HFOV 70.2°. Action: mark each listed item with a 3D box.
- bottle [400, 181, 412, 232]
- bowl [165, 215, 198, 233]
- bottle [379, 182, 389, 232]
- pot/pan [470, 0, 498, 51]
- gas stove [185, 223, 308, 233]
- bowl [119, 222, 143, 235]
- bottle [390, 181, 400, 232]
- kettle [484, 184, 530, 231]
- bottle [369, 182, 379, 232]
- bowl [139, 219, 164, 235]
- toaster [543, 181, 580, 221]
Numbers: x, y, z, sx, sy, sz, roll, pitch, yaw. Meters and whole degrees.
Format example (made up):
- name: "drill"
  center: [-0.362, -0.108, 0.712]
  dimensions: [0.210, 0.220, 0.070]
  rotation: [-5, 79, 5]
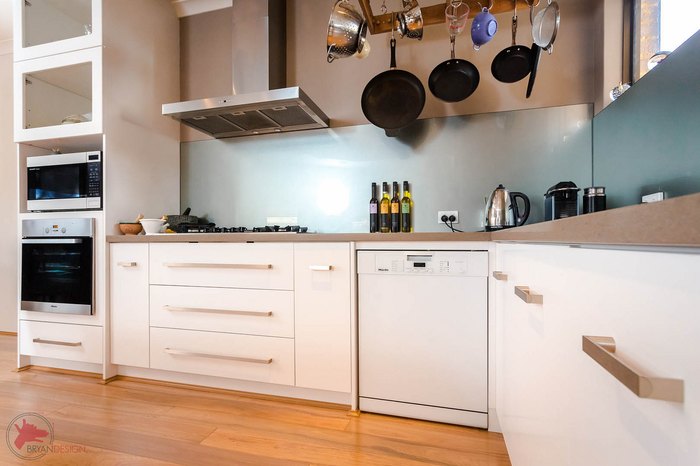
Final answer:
- name: "bottle"
  center: [0.432, -0.208, 3.841]
  dimensions: [0.093, 0.338, 0.060]
  rotation: [-2, 1, 10]
- name: "bowl"
  center: [-1.331, -0.070, 3.933]
  dimensions: [0.187, 0.080, 0.142]
  rotation: [-2, -5, 24]
- name: "bottle"
  center: [0.271, -0.206, 3.877]
  dimensions: [0.087, 0.337, 0.064]
  rotation: [-2, 1, 7]
- name: "pot/pan"
  center: [0.850, -1.314, 3.178]
  dimensions: [0.145, 0.231, 0.260]
  rotation: [-2, 1, 15]
- name: "gas stove"
  center: [-0.834, -0.041, 3.951]
  dimensions: [0.946, 0.077, 0.518]
  rotation: [-1, 1, 22]
- name: "bowl"
  center: [-1.696, -0.034, 3.835]
  dimensions: [0.168, 0.098, 0.085]
  rotation: [-2, 1, -30]
- name: "bottle"
  center: [0.354, -0.208, 3.852]
  dimensions: [0.070, 0.343, 0.083]
  rotation: [-2, 1, 36]
- name: "kettle"
  center: [1.108, -0.184, 3.531]
  dimensions: [0.459, 0.263, 0.303]
  rotation: [-2, 1, -43]
- name: "bottle"
  center: [0.187, -0.203, 3.876]
  dimensions: [0.078, 0.348, 0.082]
  rotation: [-2, 1, 0]
- name: "bowl"
  center: [-1.542, -0.047, 3.848]
  dimensions: [0.147, 0.094, 0.144]
  rotation: [-2, -1, 0]
- name: "toaster"
  center: [1.424, -0.214, 3.301]
  dimensions: [0.178, 0.252, 0.249]
  rotation: [1, 13, 17]
